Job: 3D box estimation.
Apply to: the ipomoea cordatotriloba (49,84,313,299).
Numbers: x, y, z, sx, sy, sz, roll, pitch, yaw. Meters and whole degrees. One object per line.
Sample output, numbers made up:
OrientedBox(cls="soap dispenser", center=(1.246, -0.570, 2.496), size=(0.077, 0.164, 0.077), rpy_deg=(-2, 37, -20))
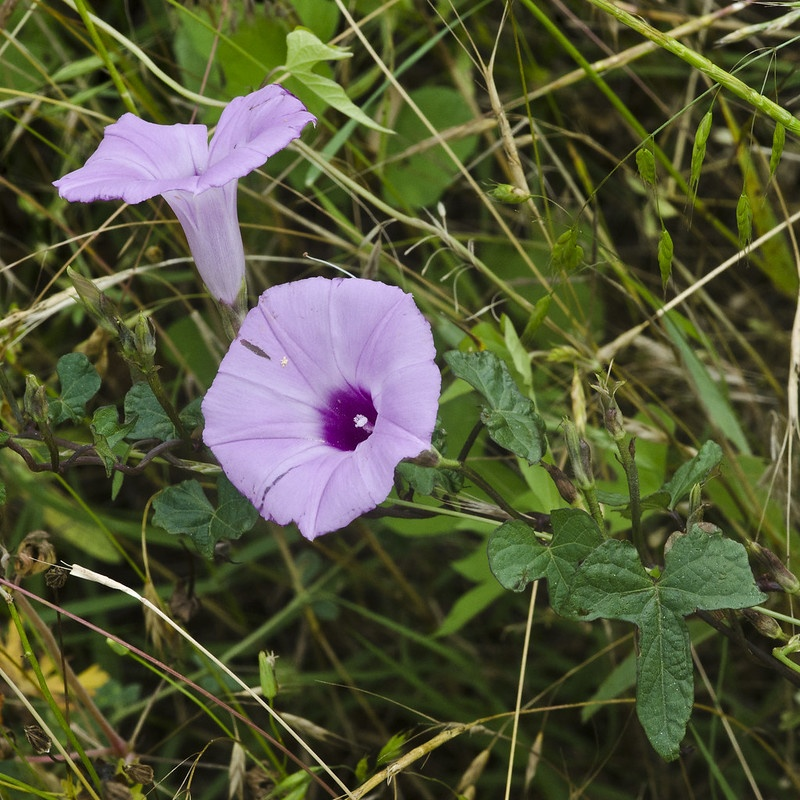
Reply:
OrientedBox(cls="ipomoea cordatotriloba", center=(-0.300, -0.353, 1.373), size=(0.416, 0.350, 0.269), rpy_deg=(-3, -56, -4))
